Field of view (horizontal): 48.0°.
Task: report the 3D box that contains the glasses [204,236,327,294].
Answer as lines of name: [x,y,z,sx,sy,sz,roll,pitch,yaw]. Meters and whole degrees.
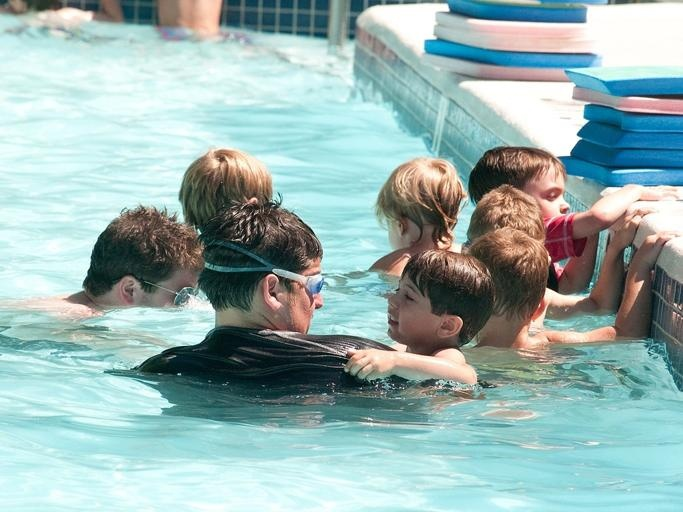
glasses: [-0.243,0.038,2.522,0.354,0.057,0.209,12,-2,-18]

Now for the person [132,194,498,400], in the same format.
person: [-0.064,0.171,2.719,1.316,0.423,0.859,7,12,-16]

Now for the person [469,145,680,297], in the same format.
person: [1.168,-0.167,3.720,1.157,0.599,0.615,22,10,21]

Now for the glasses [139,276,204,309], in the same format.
glasses: [-0.746,0.172,3.412,0.218,0.048,0.175,15,4,15]
